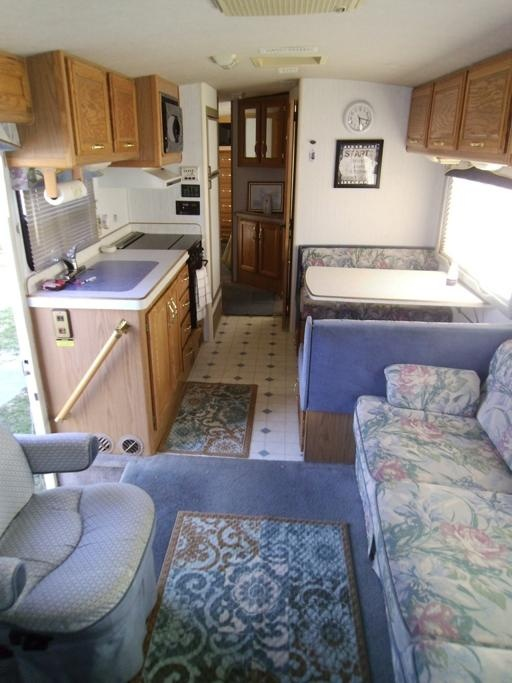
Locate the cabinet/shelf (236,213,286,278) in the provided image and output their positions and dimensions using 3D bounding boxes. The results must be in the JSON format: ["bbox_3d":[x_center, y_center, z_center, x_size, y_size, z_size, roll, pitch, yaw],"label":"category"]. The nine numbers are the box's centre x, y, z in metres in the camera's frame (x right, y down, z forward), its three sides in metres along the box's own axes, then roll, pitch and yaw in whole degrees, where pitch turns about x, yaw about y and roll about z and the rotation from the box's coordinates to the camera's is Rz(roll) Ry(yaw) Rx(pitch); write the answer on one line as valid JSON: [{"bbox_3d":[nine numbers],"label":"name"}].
[{"bbox_3d":[0.159,-1.188,6.031,0.434,0.857,0.834,-19,29,-40],"label":"cabinet/shelf"}]

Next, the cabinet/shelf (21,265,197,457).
[{"bbox_3d":[-0.671,0.314,3.191,0.858,1.246,1.663,0,31,0],"label":"cabinet/shelf"}]

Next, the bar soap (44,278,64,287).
[{"bbox_3d":[-1.069,-0.302,2.507,0.101,0.031,0.103,-8,23,-20],"label":"bar soap"}]

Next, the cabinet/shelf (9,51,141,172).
[{"bbox_3d":[-0.871,-1.119,2.362,0.268,0.476,0.942,2,22,5],"label":"cabinet/shelf"}]

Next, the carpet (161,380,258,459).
[{"bbox_3d":[-0.291,0.492,3.291,0.557,0.017,1.038,3,19,1],"label":"carpet"}]

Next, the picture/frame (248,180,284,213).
[{"bbox_3d":[0.144,-1.821,5.940,0.625,0.551,0.047,3,9,16],"label":"picture/frame"}]
